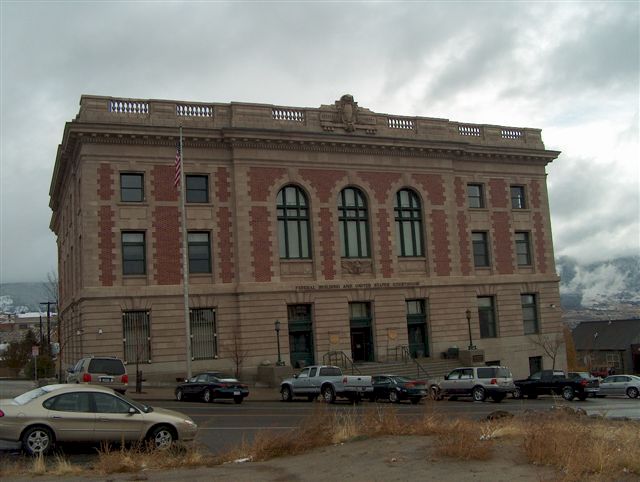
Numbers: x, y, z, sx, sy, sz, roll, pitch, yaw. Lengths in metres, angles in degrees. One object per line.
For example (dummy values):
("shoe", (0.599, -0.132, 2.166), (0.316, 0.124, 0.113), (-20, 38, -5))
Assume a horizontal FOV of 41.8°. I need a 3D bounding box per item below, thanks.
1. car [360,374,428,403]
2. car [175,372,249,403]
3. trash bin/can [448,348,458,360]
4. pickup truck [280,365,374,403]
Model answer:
("car", (4.002, 7.671, 43.809), (1.394, 0.857, 2.809), (4, -3, -35))
("car", (-5.871, 7.608, 43.622), (3.509, 1.067, 1.608), (-3, -8, 44))
("trash bin/can", (9.152, 7.730, 58.080), (0.976, 0.969, 0.577), (1, -12, -6))
("pickup truck", (0.393, 7.378, 43.888), (4.785, 1.753, 2.239), (-5, -10, 42))
